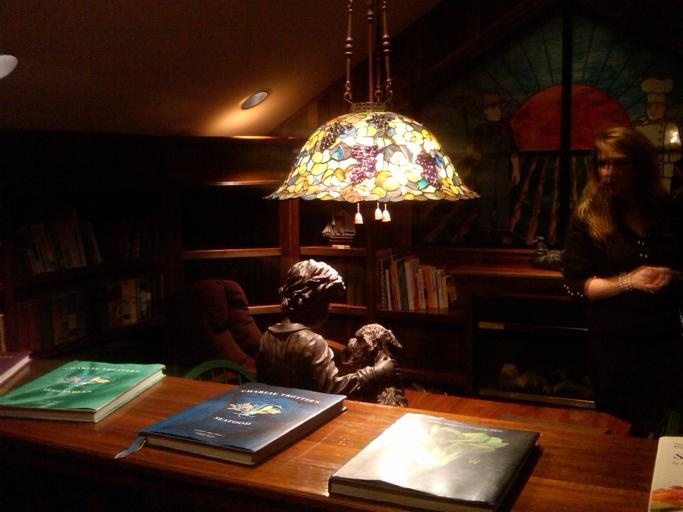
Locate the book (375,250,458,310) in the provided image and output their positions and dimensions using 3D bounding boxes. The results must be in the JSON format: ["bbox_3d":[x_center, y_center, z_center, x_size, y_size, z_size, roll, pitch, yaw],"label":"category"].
[{"bbox_3d":[0.478,0.088,3.510,0.522,0.380,0.331,0,5,14],"label":"book"}]

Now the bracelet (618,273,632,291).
[{"bbox_3d":[1.101,0.103,2.054,0.049,0.057,0.021,-15,5,-37],"label":"bracelet"}]

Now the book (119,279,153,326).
[{"bbox_3d":[-1.204,0.274,3.078,0.150,0.277,0.288,-1,0,17],"label":"book"}]
